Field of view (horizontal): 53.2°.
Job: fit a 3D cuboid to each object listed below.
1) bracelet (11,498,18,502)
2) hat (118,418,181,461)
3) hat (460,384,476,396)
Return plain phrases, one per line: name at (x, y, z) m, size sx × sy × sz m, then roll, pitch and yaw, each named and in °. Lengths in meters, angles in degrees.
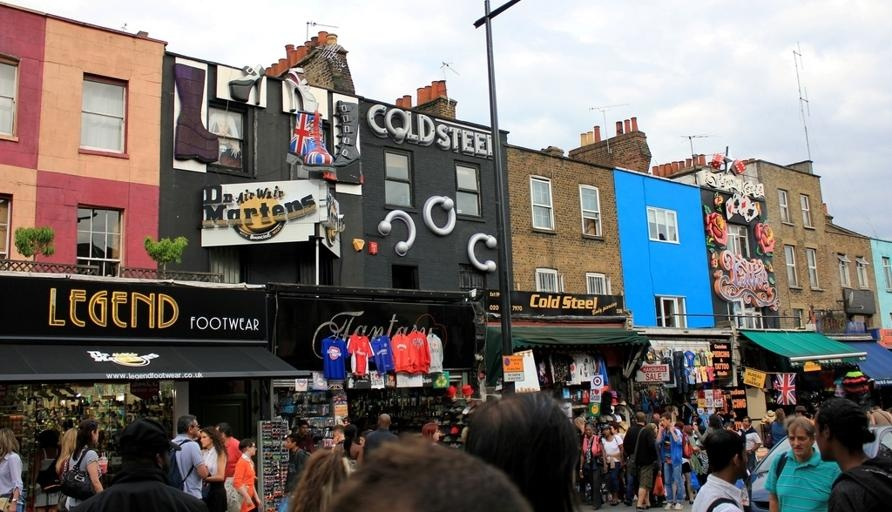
bracelet at (-10.414, 5.939, 21.592) m, size 0.083 × 0.133 × 0.244 m, roll 0°, pitch -11°, yaw -10°
hat at (-5.648, 3.584, 17.133) m, size 0.710 × 0.711 × 0.927 m, roll -8°, pitch -24°, yaw 12°
hat at (0.816, 4.619, 30.566) m, size 0.438 × 0.192 × 0.318 m, roll -15°, pitch 18°, yaw -36°
